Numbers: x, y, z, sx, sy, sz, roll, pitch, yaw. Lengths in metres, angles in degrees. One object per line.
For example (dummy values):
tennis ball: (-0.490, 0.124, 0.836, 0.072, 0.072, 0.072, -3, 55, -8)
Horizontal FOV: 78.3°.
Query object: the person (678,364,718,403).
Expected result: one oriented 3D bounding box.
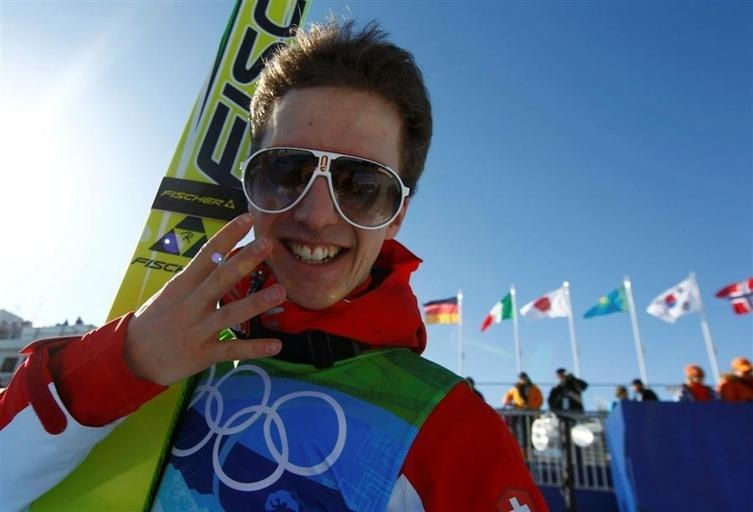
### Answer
person: (4.295, 1.701, 6.208, 0.384, 0.509, 1.003, -3, -20, 37)
